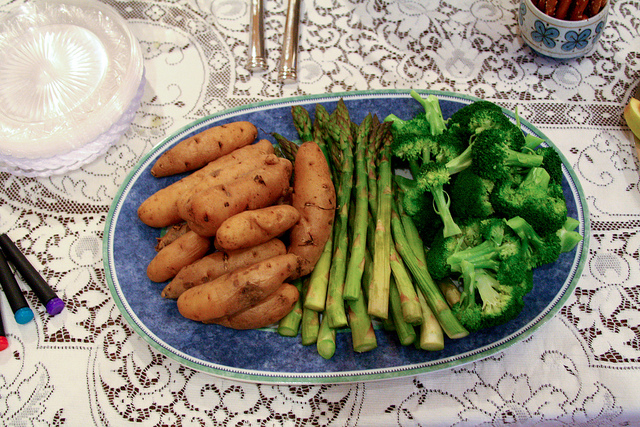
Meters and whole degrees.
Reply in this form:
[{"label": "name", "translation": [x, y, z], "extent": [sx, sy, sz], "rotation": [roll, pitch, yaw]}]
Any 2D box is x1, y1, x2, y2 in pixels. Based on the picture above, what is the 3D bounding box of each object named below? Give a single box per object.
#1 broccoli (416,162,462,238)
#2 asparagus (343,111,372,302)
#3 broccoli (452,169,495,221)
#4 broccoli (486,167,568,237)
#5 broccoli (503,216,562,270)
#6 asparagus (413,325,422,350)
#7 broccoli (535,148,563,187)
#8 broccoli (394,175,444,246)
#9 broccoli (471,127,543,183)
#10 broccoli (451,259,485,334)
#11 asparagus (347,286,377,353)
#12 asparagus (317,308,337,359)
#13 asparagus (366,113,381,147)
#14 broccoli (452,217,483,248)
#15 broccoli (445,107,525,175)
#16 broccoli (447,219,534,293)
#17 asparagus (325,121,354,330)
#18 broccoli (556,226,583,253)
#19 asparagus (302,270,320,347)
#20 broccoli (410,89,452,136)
[{"label": "broccoli", "translation": [0.757, -0.099, 3.390], "extent": [0.228, 0.210, 0.491], "rotation": [-12, 73, -9]}, {"label": "asparagus", "translation": [0.276, -0.063, 3.520], "extent": [0.130, 0.164, 1.231], "rotation": [3, 75, 7]}, {"label": "broccoli", "translation": [0.937, -0.102, 3.298], "extent": [0.235, 0.295, 0.198], "rotation": [-12, 34, 23]}, {"label": "broccoli", "translation": [1.278, -0.038, 3.274], "extent": [0.400, 0.130, 0.411], "rotation": [32, 71, 5]}, {"label": "broccoli", "translation": [1.305, 0.180, 3.347], "extent": [0.229, 0.326, 0.309], "rotation": [2, 31, 11]}, {"label": "asparagus", "translation": [0.593, 0.758, 3.266], "extent": [0.033, 0.037, 0.152], "rotation": [-13, 77, 39]}, {"label": "broccoli", "translation": [1.443, -0.333, 3.446], "extent": [0.082, 0.186, 0.253], "rotation": [26, 72, 37]}, {"label": "broccoli", "translation": [0.630, -0.021, 3.549], "extent": [0.257, 0.182, 0.416], "rotation": [-37, 91, 1]}, {"label": "broccoli", "translation": [1.149, -0.315, 3.362], "extent": [0.370, 0.214, 0.344], "rotation": [8, 49, -8]}, {"label": "broccoli", "translation": [0.908, 0.506, 3.309], "extent": [0.204, 0.202, 0.460], "rotation": [-11, 90, 31]}, {"label": "asparagus", "translation": [0.254, 0.677, 3.315], "extent": [0.147, 0.104, 0.356], "rotation": [-7, 69, -4]}, {"label": "asparagus", "translation": [0.045, 0.753, 3.281], "extent": [0.061, 0.073, 0.271], "rotation": [9, 43, 0]}, {"label": "asparagus", "translation": [0.357, -0.574, 3.685], "extent": [0.058, 0.040, 0.230], "rotation": [32, 69, -28]}, {"label": "broccoli", "translation": [0.939, 0.115, 3.341], "extent": [0.139, 0.057, 0.192], "rotation": [-3, 93, 17]}, {"label": "broccoli", "translation": [1.032, -0.512, 3.433], "extent": [0.382, 0.426, 0.480], "rotation": [-27, 31, -25]}, {"label": "broccoli", "translation": [1.046, 0.283, 3.416], "extent": [0.470, 0.211, 0.425], "rotation": [-1, 84, 2]}, {"label": "asparagus", "translation": [0.123, 0.071, 3.475], "extent": [0.162, 0.154, 1.351], "rotation": [-1, 81, 8]}, {"label": "broccoli", "translation": [1.530, 0.166, 3.301], "extent": [0.154, 0.042, 0.156], "rotation": [-24, 102, -4]}, {"label": "asparagus", "translation": [-0.042, 0.603, 3.394], "extent": [0.098, 0.115, 0.445], "rotation": [7, 61, -9]}, {"label": "broccoli", "translation": [0.753, -0.673, 3.618], "extent": [0.233, 0.130, 0.383], "rotation": [-20, 64, 8]}]
